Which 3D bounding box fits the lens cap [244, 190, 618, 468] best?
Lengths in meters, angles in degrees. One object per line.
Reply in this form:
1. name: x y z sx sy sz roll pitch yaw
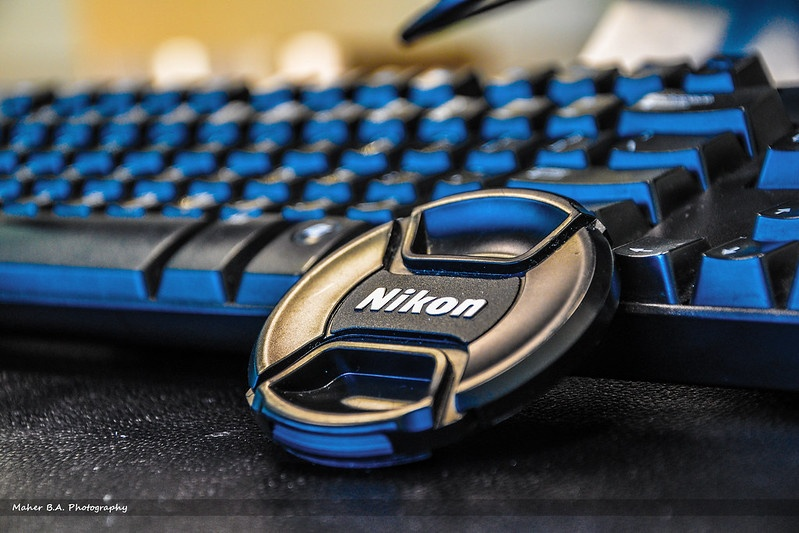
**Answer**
1. lens cap: 0.024 0.041 0.545 0.257 0.054 0.260 4 40 37
